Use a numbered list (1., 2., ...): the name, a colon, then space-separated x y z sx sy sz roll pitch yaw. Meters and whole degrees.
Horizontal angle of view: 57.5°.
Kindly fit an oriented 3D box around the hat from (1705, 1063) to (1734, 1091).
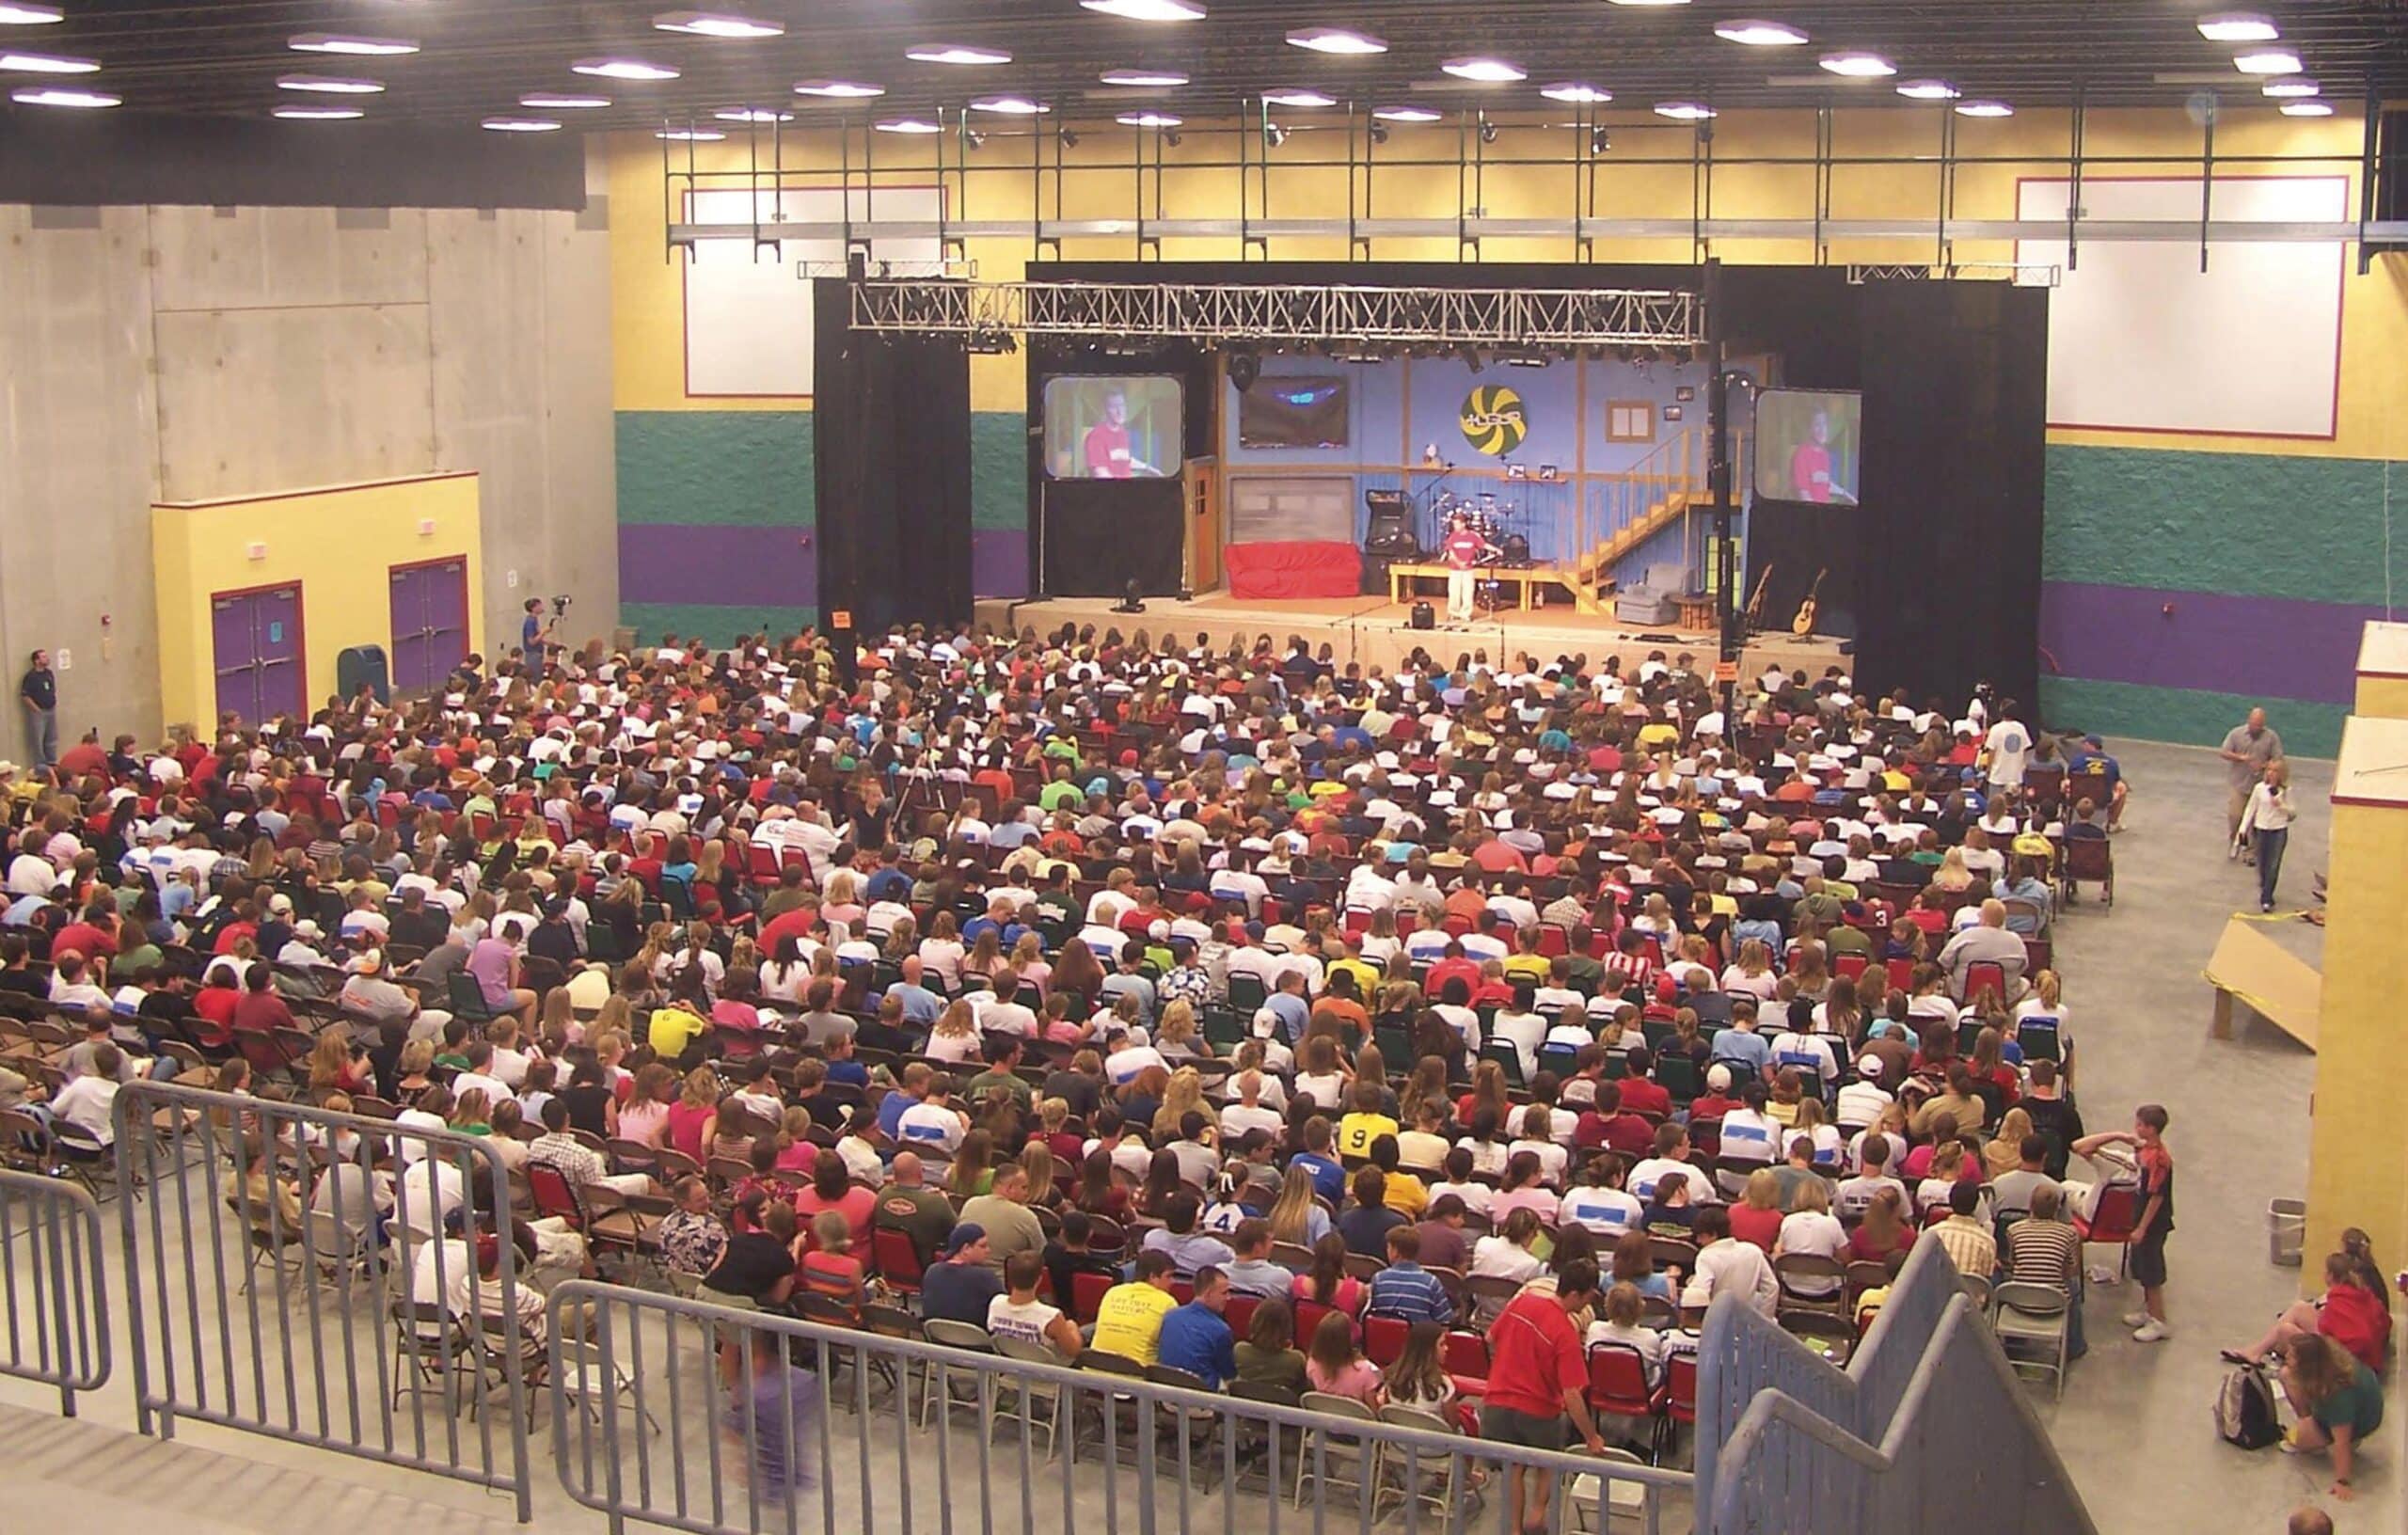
1. hat: 3.904 2.343 16.796 0.189 0.208 0.239 10 12 24

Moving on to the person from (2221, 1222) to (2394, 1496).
1. person: 7.773 3.964 15.300 0.844 1.599 1.149 5 8 33

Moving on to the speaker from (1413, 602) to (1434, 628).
1. speaker: 3.625 -2.555 37.283 0.478 0.585 0.375 0 -5 2

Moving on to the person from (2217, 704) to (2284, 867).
1. person: 12.481 0.190 26.118 0.723 1.699 0.707 1 18 10

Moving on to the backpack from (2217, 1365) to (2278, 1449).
1. backpack: 7.283 4.425 15.281 0.376 0.619 0.571 0 4 33

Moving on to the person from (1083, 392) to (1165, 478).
1. person: -1.555 -5.852 38.965 1.341 1.389 0.321 0 7 -2

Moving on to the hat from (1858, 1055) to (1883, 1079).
1. hat: 5.279 2.354 17.391 0.149 0.175 0.193 1 -10 1

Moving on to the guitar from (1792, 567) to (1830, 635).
1. guitar: 9.625 -2.578 34.871 0.477 1.151 0.175 19 4 26
